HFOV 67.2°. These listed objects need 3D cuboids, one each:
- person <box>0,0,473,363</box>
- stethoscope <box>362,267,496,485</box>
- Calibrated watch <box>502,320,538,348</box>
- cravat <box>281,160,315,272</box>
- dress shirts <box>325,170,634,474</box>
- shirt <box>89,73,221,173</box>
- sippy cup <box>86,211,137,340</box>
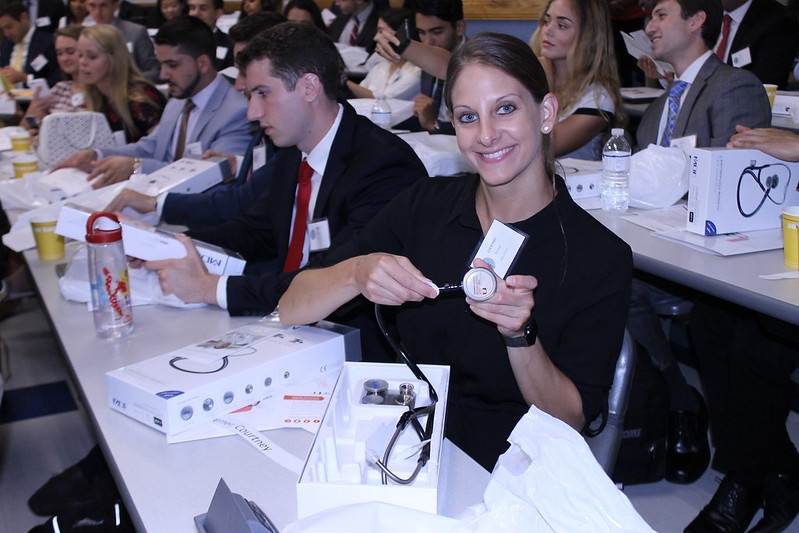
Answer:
[{"bbox_3d":[-0.679,-0.477,2.676,1.346,1.660,0.954,-12,18,-20],"label":"person"},{"bbox_3d":[0.051,0.200,1.432,0.198,0.085,0.571,-14,32,4],"label":"stethoscope"},{"bbox_3d":[0.318,0.185,1.613,0.082,0.062,0.090,-5,12,24],"label":"Calibrated watch"},{"bbox_3d":[-0.432,-0.216,2.536,0.081,0.478,0.049,7,8,-16],"label":"cravat"},{"bbox_3d":[0.218,0.167,1.680,0.467,0.877,0.824,-17,24,-42],"label":"dress shirts"},{"bbox_3d":[-1.520,-0.936,3.913,0.797,0.865,0.629,-9,23,-34],"label":"shirt"},{"bbox_3d":[-0.922,0.029,1.889,0.120,0.391,0.089,-8,13,-21],"label":"sippy cup"}]
